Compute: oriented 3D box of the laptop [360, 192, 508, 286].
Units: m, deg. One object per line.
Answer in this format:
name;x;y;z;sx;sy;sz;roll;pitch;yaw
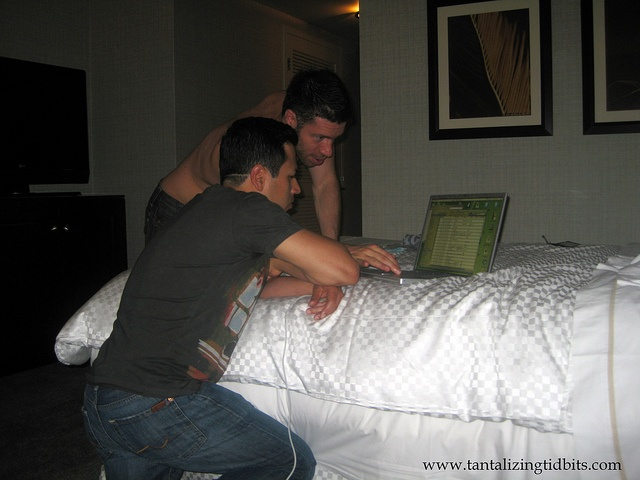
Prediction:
laptop;0.447;-0.022;1.660;0.358;0.281;0.358;1;0;-34
